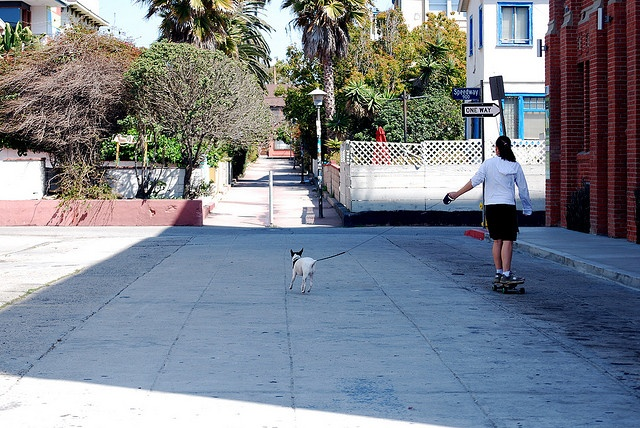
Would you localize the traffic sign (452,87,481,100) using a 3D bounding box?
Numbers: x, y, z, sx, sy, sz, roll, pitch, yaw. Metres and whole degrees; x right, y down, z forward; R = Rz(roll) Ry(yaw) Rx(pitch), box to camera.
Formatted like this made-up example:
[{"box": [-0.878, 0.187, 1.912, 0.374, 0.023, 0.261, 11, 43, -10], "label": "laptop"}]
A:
[{"box": [4.324, -3.531, 20.313, 0.744, 0.352, 0.712, 4, 8, 28], "label": "traffic sign"}]

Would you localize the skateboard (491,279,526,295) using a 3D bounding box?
[{"box": [3.301, 1.271, 12.082, 0.246, 0.239, 0.500, 0, -2, -12], "label": "skateboard"}]

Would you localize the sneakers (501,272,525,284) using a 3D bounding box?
[{"box": [3.380, 1.107, 12.051, 0.490, 0.236, 0.171, -1, 0, 3], "label": "sneakers"}]

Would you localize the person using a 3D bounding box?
[{"box": [3.174, -0.068, 12.381, 1.190, 2.617, 1.118, 2, 8, 15], "label": "person"}]
